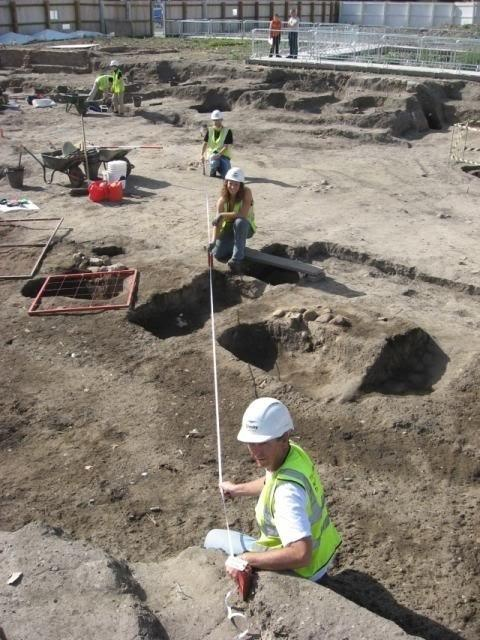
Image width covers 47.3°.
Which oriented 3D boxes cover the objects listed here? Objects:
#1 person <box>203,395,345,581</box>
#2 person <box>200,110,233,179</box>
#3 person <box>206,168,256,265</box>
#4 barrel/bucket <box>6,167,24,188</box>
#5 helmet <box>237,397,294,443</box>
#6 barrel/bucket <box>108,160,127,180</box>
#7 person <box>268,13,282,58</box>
[{"bbox_3d":[0.152,0.682,2.165,0.499,0.928,0.398,-2,7,-15],"label":"person"},{"bbox_3d":[-0.416,-3.103,9.860,0.681,1.390,0.616,14,31,22],"label":"person"},{"bbox_3d":[-0.079,-1.113,6.262,0.560,1.101,0.503,6,27,-1],"label":"person"},{"bbox_3d":[-3.673,-2.385,9.161,0.324,0.300,0.335,1,22,0],"label":"barrel/bucket"},{"bbox_3d":[0.104,0.393,2.186,0.206,0.147,0.254,1,20,0],"label":"helmet"},{"bbox_3d":[-2.000,-2.466,9.035,0.316,0.274,0.273,-8,22,-22],"label":"barrel/bucket"},{"bbox_3d":[1.358,-10.600,20.441,0.442,1.419,0.875,2,21,3],"label":"person"}]
